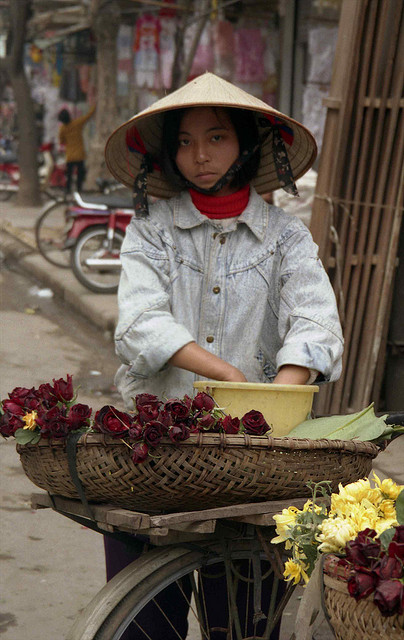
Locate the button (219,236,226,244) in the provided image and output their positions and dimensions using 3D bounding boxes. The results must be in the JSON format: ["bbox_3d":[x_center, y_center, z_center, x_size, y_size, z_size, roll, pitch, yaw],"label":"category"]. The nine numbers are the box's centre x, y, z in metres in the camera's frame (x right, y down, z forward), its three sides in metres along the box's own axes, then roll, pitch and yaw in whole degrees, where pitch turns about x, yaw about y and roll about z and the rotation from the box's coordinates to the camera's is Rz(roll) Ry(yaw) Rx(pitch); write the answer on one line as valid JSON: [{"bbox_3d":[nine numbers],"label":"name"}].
[{"bbox_3d":[0.053,-0.206,2.143,0.017,0.016,0.007,2,16,-11],"label":"button"}]

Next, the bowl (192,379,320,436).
[{"bbox_3d":[0.120,0.190,1.755,0.217,0.080,0.142,3,-8,-6],"label":"bowl"}]

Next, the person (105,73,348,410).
[{"bbox_3d":[0.048,-0.189,2.084,0.604,0.835,0.662,3,15,-7],"label":"person"}]

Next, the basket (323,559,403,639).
[{"bbox_3d":[0.257,0.455,1.337,0.131,0.089,0.123,5,0,-29],"label":"basket"}]

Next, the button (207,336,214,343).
[{"bbox_3d":[0.021,0.053,2.098,0.020,0.016,0.005,12,17,26],"label":"button"}]

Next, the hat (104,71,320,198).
[{"bbox_3d":[0.030,-0.468,2.146,0.561,0.340,0.435,3,14,-7],"label":"hat"}]

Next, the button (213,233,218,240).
[{"bbox_3d":[0.035,-0.217,2.143,0.020,0.018,0.005,-1,-5,29],"label":"button"}]

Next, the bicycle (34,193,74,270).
[{"bbox_3d":[-0.880,-0.510,4.811,0.099,0.364,0.422,4,7,43],"label":"bicycle"}]
